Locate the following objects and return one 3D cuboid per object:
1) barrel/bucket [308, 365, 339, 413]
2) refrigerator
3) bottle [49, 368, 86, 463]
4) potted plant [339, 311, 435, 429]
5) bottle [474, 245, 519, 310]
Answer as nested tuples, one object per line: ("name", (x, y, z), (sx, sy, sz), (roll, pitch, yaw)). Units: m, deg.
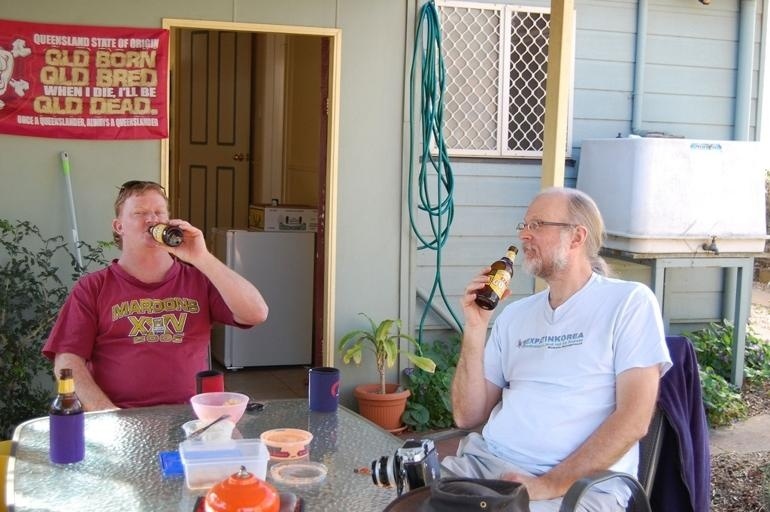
("barrel/bucket", (-0.251, 0.550, 2.669), (0.170, 0.170, 0.175), (1, 0, 0))
("refrigerator", (-1.056, 0.394, 6.642), (1.287, 1.795, 1.056), (1, 0, -8))
("bottle", (-1.061, 0.516, 2.122), (0.131, 0.308, 0.103), (2, -1, -23))
("potted plant", (0.038, 0.905, 4.804), (0.788, 0.861, 0.957), (-5, -10, 37))
("bottle", (0.506, 0.078, 2.756), (0.112, 0.111, 0.324), (-10, 41, 49))
